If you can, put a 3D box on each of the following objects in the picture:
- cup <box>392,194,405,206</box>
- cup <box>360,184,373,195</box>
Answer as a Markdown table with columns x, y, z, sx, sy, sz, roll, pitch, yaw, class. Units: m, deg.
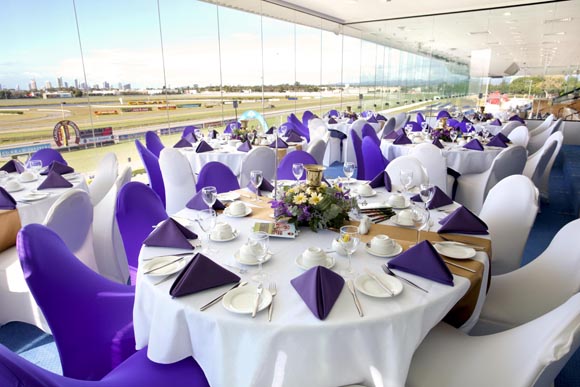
| x | y | z | sx | sy | sz | roll | pitch | yaw | class |
| --- | --- | --- | --- | --- | --- | --- | --- | --- | --- |
| 0.917 | 0.065 | 2.867 | 0.087 | 0.064 | 0.090 | -1 | 13 | 0 | cup |
| 0.695 | -0.032 | 3.079 | 0.089 | 0.067 | 0.092 | -1 | 11 | 0 | cup |
